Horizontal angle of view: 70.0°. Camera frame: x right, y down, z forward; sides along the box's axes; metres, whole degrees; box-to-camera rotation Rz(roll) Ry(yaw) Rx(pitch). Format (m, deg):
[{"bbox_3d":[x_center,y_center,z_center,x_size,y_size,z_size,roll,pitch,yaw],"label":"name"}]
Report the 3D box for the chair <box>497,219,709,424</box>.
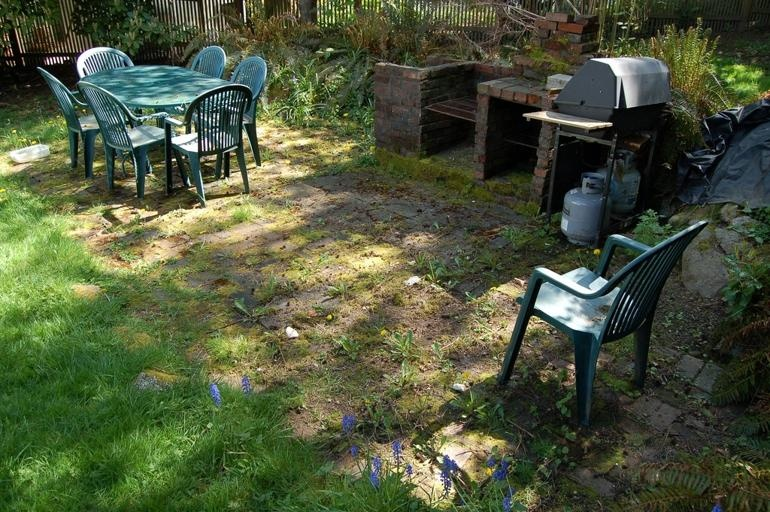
[{"bbox_3d":[1.524,0.394,3.954,0.954,1.471,1.053,-17,28,-25],"label":"chair"}]
